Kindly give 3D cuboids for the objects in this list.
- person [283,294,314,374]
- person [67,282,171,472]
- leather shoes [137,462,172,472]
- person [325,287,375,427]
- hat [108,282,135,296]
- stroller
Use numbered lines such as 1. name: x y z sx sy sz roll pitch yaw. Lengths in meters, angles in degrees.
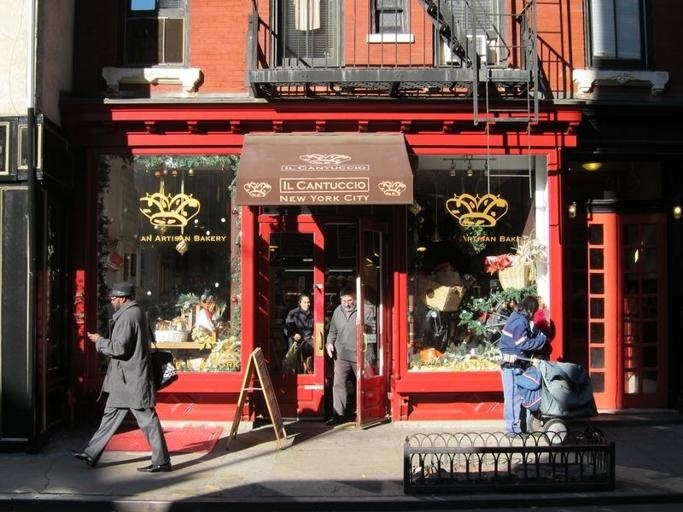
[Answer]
1. person: -0.633 1.284 15.869 0.530 1.356 0.400 1 16 -9
2. person: -2.966 1.657 13.664 1.189 2.578 0.519 0 -1 -4
3. leather shoes: -2.555 2.898 13.509 0.472 0.188 0.164 4 -5 -3
4. person: 0.094 1.567 15.631 0.746 2.108 0.489 -1 -1 9
5. hat: -3.083 0.467 13.793 0.251 0.141 0.196 5 -5 -22
6. stroller: 3.104 2.128 14.154 1.241 1.263 0.985 -2 -17 20
